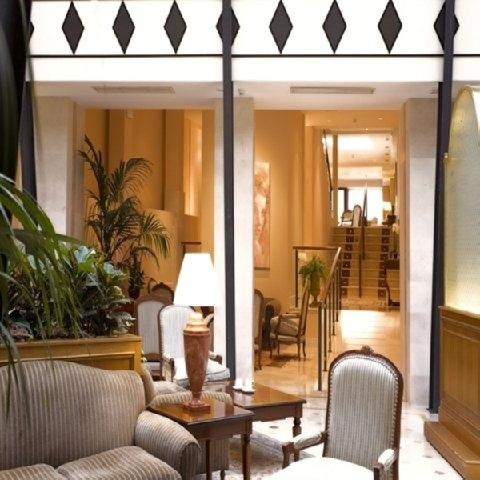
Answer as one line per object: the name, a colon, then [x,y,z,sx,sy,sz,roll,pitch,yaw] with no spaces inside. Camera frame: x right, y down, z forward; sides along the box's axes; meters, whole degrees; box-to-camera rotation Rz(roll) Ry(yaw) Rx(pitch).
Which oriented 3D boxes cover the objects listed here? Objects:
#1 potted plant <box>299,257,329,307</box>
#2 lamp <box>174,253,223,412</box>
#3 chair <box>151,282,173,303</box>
potted plant: [1.244,0.728,9.189,0.470,1.059,0.583,0,-5,9]
lamp: [-0.287,0.619,3.542,0.220,1.004,0.238,-3,-4,40]
chair: [-1.102,0.760,7.703,0.221,0.265,0.472,0,7,-14]
